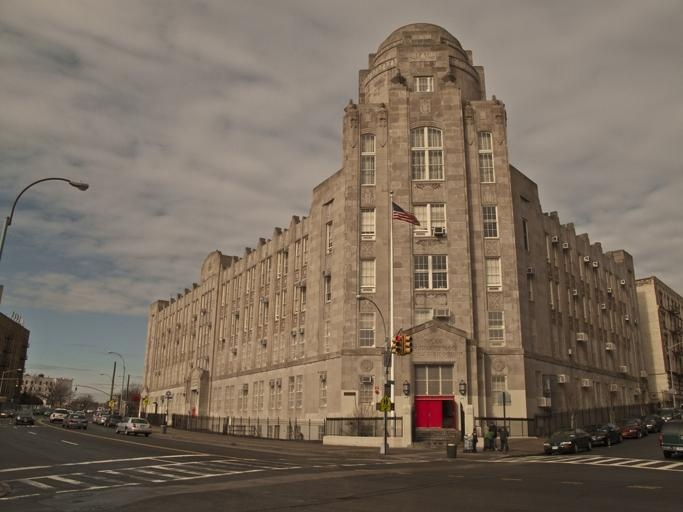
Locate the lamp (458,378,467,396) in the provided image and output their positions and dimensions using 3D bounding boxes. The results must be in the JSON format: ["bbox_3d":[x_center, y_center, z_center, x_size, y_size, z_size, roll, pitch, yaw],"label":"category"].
[{"bbox_3d":[10.048,10.913,48.343,0.780,1.322,0.523,3,-23,-5],"label":"lamp"}]

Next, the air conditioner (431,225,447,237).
[{"bbox_3d":[8.776,-2.162,52.715,1.508,1.352,0.825,-1,-19,8],"label":"air conditioner"}]

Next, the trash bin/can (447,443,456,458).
[{"bbox_3d":[6.803,12.204,36.365,0.693,0.794,0.702,2,-13,-12],"label":"trash bin/can"}]

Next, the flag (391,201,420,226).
[{"bbox_3d":[5.268,-3.530,49.148,2.597,2.636,0.379,8,-32,-16],"label":"flag"}]

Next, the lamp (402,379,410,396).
[{"bbox_3d":[5.326,10.920,48.124,0.667,1.259,0.458,-1,-23,5],"label":"lamp"}]

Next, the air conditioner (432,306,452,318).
[{"bbox_3d":[8.643,5.005,50.699,1.428,0.792,0.874,0,-9,1],"label":"air conditioner"}]
